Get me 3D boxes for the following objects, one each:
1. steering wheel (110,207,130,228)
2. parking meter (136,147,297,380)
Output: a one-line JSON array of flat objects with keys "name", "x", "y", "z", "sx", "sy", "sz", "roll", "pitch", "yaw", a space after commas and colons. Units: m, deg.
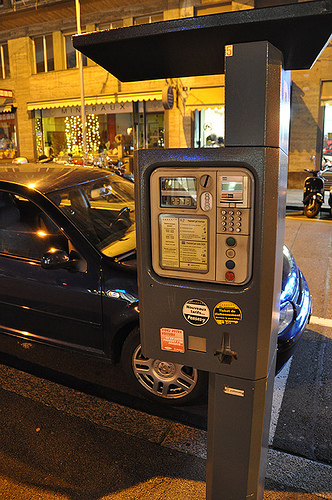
[{"name": "steering wheel", "x": -0.430, "y": -0.313, "z": 3.519, "sx": 0.085, "sy": 0.072, "sz": 0.258, "roll": -17, "pitch": 23, "yaw": 30}, {"name": "parking meter", "x": 0.144, "y": 0.005, "z": 1.356, "sx": 0.482, "sy": 0.772, "sz": 0.458, "roll": 7, "pitch": 17, "yaw": 26}]
